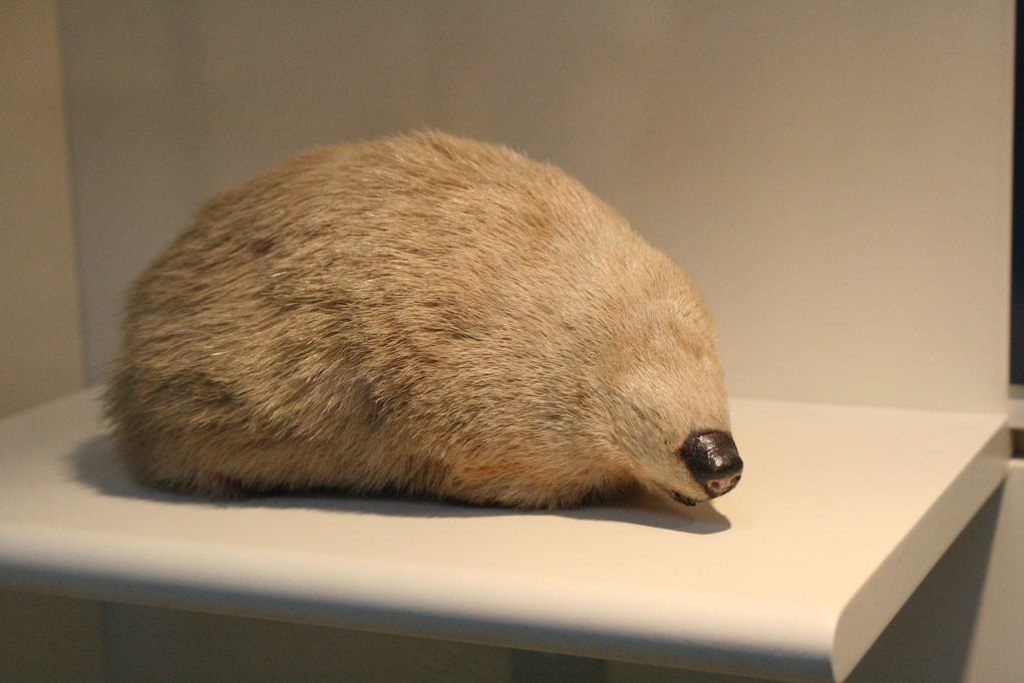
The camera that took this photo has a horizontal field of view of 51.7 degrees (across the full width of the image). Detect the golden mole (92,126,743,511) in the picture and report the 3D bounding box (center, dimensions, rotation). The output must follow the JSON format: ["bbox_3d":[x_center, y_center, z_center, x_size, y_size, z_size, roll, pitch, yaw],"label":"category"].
[{"bbox_3d":[-0.070,-0.017,0.907,0.564,0.263,0.341,9,19,26],"label":"golden mole"}]
